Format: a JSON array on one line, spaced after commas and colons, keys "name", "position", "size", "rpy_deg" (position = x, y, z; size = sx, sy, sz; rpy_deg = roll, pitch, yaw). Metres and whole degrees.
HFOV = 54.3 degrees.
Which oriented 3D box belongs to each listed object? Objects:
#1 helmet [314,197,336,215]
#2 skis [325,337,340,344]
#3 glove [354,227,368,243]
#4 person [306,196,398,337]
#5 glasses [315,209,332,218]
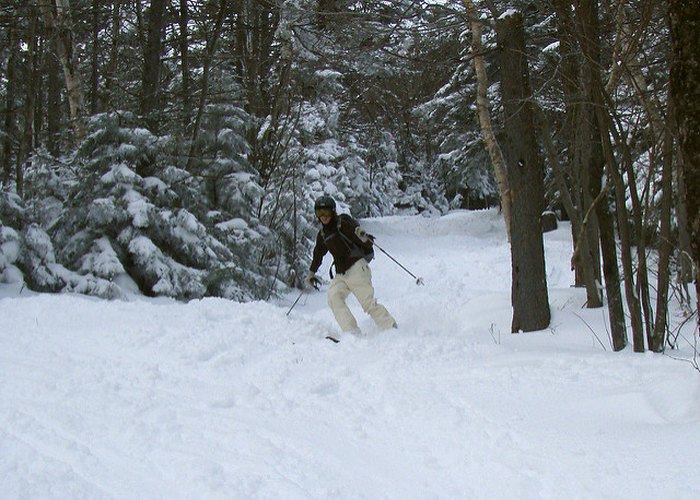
[{"name": "helmet", "position": [-0.383, -0.697, 10.431], "size": [0.221, 0.302, 0.308], "rpy_deg": [-6, -2, 6]}, {"name": "skis", "position": [-0.238, 1.272, 9.561], "size": [0.159, 0.061, 0.028], "rpy_deg": [15, -2, 42]}, {"name": "glove", "position": [0.180, -0.209, 10.244], "size": [0.074, 0.217, 0.162], "rpy_deg": [-34, 35, 18]}, {"name": "person", "position": [-0.024, 0.173, 10.439], "size": [1.495, 2.059, 0.889], "rpy_deg": [2, 6, 43]}, {"name": "glasses", "position": [-0.384, -0.554, 10.343], "size": [0.265, 0.149, 0.152], "rpy_deg": [-4, 5, -7]}]
